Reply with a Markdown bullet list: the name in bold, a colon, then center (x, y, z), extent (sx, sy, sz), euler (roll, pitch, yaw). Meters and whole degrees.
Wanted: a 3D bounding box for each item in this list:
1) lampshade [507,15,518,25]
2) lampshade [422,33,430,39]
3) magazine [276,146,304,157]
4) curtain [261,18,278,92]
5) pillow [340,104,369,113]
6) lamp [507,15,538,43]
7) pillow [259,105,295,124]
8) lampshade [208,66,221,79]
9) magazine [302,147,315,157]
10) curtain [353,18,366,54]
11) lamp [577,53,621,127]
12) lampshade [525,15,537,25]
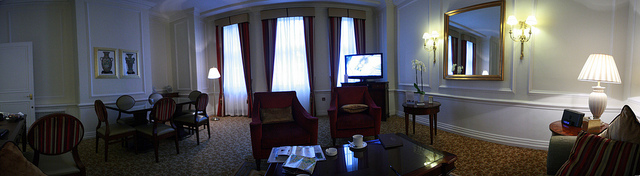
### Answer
- **lampshade**: center (10.153, -3.589, 15.150), extent (0.595, 0.455, 0.189), euler (-3, 5, -12)
- **lampshade**: center (6.010, -2.959, 16.316), extent (0.340, 0.323, 0.201), euler (-1, 5, 18)
- **magazine**: center (-1.511, 3.105, 14.165), extent (1.370, 0.434, 0.126), euler (-2, -24, -2)
- **curtain**: center (-2.959, -2.164, 18.136), extent (1.464, 3.906, 0.759), euler (-1, 0, 9)
- **pillow**: center (1.911, 1.128, 15.782), extent (1.440, 0.444, 0.155), euler (-1, 5, 4)
- **lamp**: center (10.582, -3.048, 15.164), extent (1.574, 0.955, 0.783), euler (8, 13, 43)
- **pillow**: center (-2.346, 1.441, 15.374), extent (1.720, 0.850, 0.263), euler (-2, 5, -8)
- **lampshade**: center (-6.602, -0.919, 17.880), extent (0.756, 0.710, 0.473), euler (-4, 5, -10)
- **magazine**: center (-0.568, 3.173, 14.286), extent (0.557, 0.409, 0.265), euler (-2, 5, 3)
- **curtain**: center (2.449, -3.213, 17.633), extent (0.677, 2.153, 0.252), euler (-4, 5, 0)
- **lamp**: center (14.510, -0.006, 15.454), extent (3.286, 3.859, 1.298), euler (-2, -2, 16)
- **lampshade**: center (11.051, -3.577, 15.015), extent (0.622, 0.501, 0.151), euler (-3, 5, -7)
